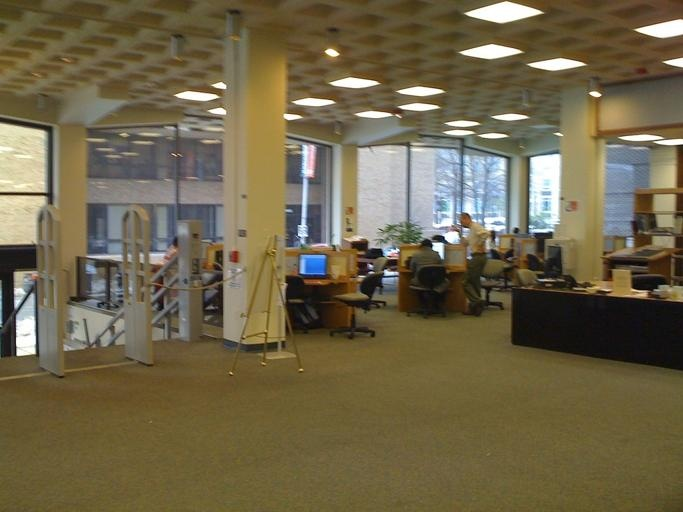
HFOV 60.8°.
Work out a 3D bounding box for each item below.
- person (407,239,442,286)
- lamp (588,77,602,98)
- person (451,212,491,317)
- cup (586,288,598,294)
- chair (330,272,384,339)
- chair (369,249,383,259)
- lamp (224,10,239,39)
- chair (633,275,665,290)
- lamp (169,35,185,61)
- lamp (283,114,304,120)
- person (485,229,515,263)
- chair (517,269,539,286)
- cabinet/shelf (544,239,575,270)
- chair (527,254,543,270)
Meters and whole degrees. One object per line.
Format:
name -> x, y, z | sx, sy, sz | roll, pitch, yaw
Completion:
person -> 1.472, 0.088, 10.331 | 0.584, 0.732, 0.912 | 1, 7, 5
lamp -> 4.419, -2.962, 10.174 | 0.184, 0.313, 0.474 | 3, 8, 22
person -> 2.415, 0.125, 10.718 | 0.490, 1.813, 0.888 | 2, 8, 12
cup -> 3.239, 0.445, 7.544 | 0.083, 0.045, 0.086 | -1, 2, 0
chair -> 0.204, 0.722, 8.939 | 0.842, 0.971, 0.678 | -1, -4, -1
chair -> 0.823, -0.071, 13.807 | 0.431, 0.250, 0.214 | -1, -8, 2
lamp -> -1.360, -2.939, 7.401 | 0.181, 0.345, 0.169 | -1, 8, -7
chair -> 4.479, 0.376, 8.519 | 0.384, 0.268, 0.332 | -2, 4, -4
lamp -> -2.306, -2.969, 8.245 | 0.171, 0.320, 0.264 | -1, 8, -12
lamp -> -1.108, -3.204, 13.467 | 0.344, 0.075, 1.388 | 0, 7, -7
person -> 3.714, -0.220, 13.659 | 0.656, 0.781, 0.924 | -2, 6, -2
chair -> 2.630, 0.295, 8.210 | 0.259, 0.275, 0.277 | -4, 4, -43
cabinet/shelf -> 4.005, -0.029, 10.660 | 0.464, 0.701, 0.569 | -5, 6, -25
chair -> 4.305, 0.137, 13.026 | 0.367, 0.406, 0.344 | -2, 6, -10
